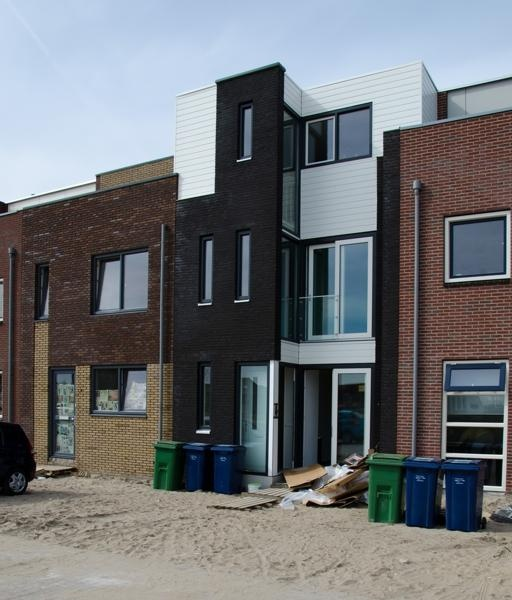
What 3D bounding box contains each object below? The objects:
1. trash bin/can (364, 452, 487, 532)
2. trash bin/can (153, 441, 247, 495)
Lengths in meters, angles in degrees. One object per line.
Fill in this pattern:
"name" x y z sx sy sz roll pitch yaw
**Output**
"trash bin/can" 2.325 2.684 11.310 1.213 0.680 0.449 -1 -4 31
"trash bin/can" -1.020 3.081 15.073 1.466 0.785 0.900 -2 -8 21
